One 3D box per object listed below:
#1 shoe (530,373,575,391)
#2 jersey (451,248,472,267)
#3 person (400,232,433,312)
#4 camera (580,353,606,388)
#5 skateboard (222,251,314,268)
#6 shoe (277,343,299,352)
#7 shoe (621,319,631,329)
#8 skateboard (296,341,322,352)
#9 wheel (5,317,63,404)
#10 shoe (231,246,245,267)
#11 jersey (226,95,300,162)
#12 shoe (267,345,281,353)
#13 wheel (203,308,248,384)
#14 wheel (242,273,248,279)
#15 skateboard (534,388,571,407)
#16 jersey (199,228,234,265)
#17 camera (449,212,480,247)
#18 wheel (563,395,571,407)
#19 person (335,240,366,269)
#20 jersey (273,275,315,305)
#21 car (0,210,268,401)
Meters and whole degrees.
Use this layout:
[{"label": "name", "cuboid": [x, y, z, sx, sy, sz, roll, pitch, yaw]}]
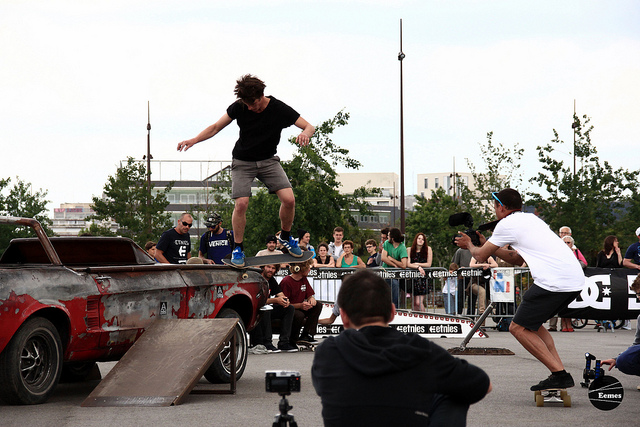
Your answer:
[{"label": "shoe", "cuboid": [2.719, 1.976, 9.072, 0.560, 0.190, 0.186, -1, -6, 4]}, {"label": "jersey", "cuboid": [3.233, 0.981, 17.377, 0.400, 0.411, 0.635, -1, 0, -2]}, {"label": "person", "cuboid": [2.104, 1.399, 16.494, 0.654, 1.922, 0.647, -1, -6, 32]}, {"label": "camera", "cuboid": [3.391, 1.895, 9.412, 0.329, 0.376, 0.211, 0, 0, 2]}, {"label": "skateboard", "cuboid": [-0.695, 0.654, 11.042, 1.479, 0.145, 0.381, -4, 23, -29]}, {"label": "shoe", "cuboid": [-0.606, 2.411, 13.931, 0.448, 0.166, 0.147, 1, 3, -11]}, {"label": "shoe", "cuboid": [7.296, 2.605, 18.148, 0.183, 0.190, 0.276, -1, 0, 21]}, {"label": "skateboard", "cuboid": [-0.242, 2.409, 14.113, 0.393, 0.190, 0.342, -1, 0, 11]}, {"label": "wheel", "cuboid": [-3.350, 1.697, 8.858, 0.315, 1.025, 0.672, -1, 0, 44]}, {"label": "shoe", "cuboid": [-1.179, 0.599, 10.820, 0.176, 0.287, 0.304, -1, 0, -7]}, {"label": "jersey", "cuboid": [-0.821, -1.225, 10.833, 1.114, 0.880, 0.543, 0, 10, -15]}, {"label": "shoe", "cuboid": [-0.830, 2.409, 13.825, 0.184, 0.137, 0.220, -1, 0, 18]}, {"label": "wheel", "cuboid": [-1.362, 1.825, 10.449, 0.364, 0.973, 1.020, -1, -14, 21]}, {"label": "wheel", "cuboid": [-1.063, 0.869, 10.806, 0.038, 0.080, 0.121, -1, 0, 18]}, {"label": "skateboard", "cuboid": [2.798, 2.193, 9.211, 0.290, 0.117, 0.296, -1, 1, 4]}, {"label": "jersey", "cuboid": [-1.918, 0.600, 14.186, 0.710, 0.710, 0.386, -4, 22, -17]}, {"label": "camera", "cuboid": [1.919, 0.208, 9.952, 0.443, 0.404, 0.436, -3, -1, -17]}, {"label": "wheel", "cuboid": [2.970, 2.219, 9.175, 0.088, 0.135, 0.125, -1, 0, 16]}, {"label": "person", "cuboid": [0.663, 0.965, 17.113, 0.790, 0.701, 0.452, 3, -9, -10]}, {"label": "jersey", "cuboid": [-0.475, 1.418, 14.384, 0.785, 0.528, 0.296, -3, 14, -33]}, {"label": "car", "cuboid": [-2.644, 1.040, 10.242, 3.678, 1.482, 1.955, 3, -4, -45]}]
